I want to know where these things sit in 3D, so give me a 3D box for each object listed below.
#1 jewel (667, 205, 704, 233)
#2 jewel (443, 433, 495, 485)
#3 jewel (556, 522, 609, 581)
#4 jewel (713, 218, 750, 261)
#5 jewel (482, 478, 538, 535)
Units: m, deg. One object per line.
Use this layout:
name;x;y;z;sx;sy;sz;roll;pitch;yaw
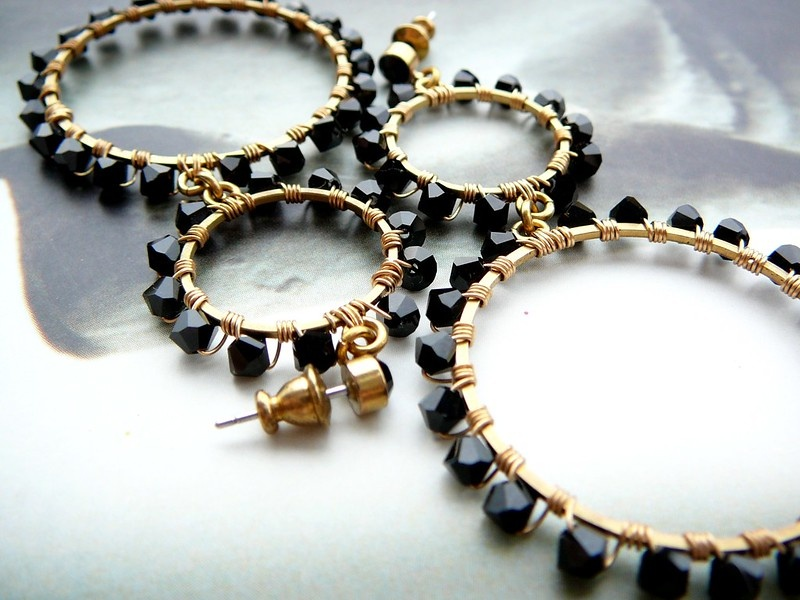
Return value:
jewel;1.106;-0.313;3.309;0.096;0.103;0.112;6;3;8
jewel;0.228;0.523;2.766;0.137;0.129;0.165;4;43;7
jewel;0.569;0.785;2.726;0.152;0.136;0.159;12;31;17
jewel;1.267;-0.235;3.269;0.094;0.068;0.124;8;35;-6
jewel;0.352;0.666;2.756;0.160;0.138;0.171;1;3;25
